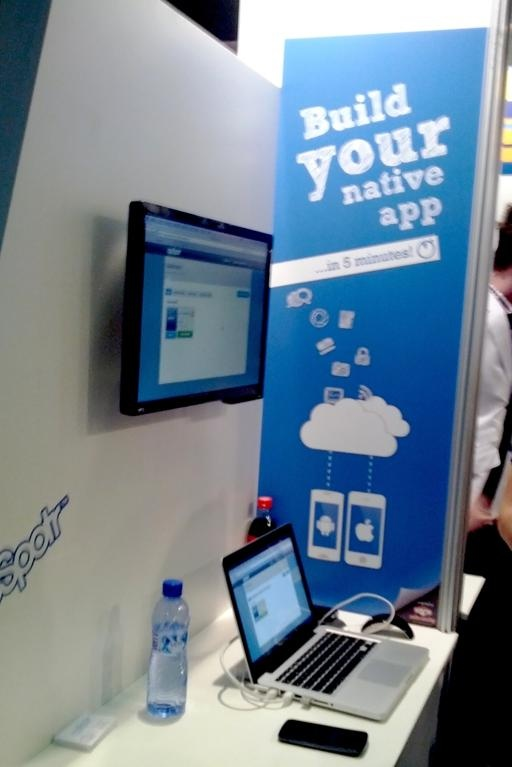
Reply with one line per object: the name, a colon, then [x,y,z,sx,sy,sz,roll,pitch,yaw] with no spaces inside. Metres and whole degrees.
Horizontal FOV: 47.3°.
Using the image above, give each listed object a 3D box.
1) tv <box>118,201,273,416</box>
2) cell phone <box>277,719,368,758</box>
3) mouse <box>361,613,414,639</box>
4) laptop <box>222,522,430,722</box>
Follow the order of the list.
tv: [-0.094,-0.137,1.119,0.062,0.332,0.552,3,1,23]
cell phone: [0.108,0.568,0.937,0.100,0.012,0.052,2,3,20]
mouse: [0.311,0.571,1.370,0.079,0.024,0.046,2,21,28]
laptop: [0.136,0.510,1.179,0.299,0.250,0.293,5,14,35]
